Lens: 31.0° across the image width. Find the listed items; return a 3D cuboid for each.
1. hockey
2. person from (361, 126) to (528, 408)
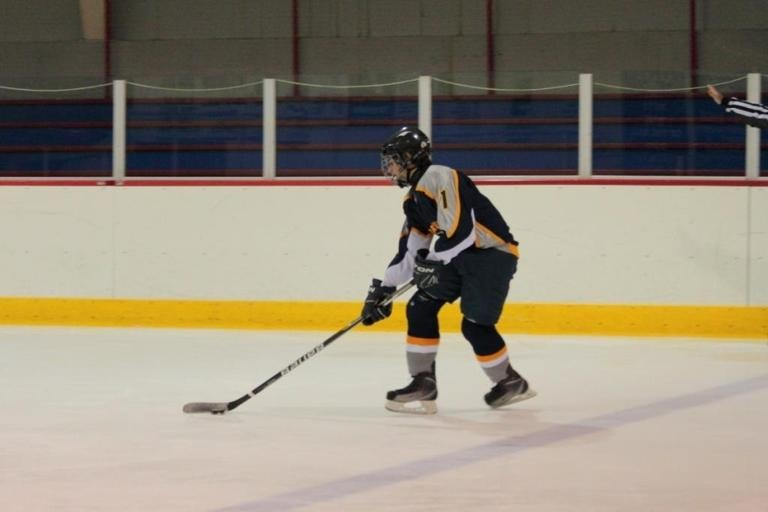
[{"bbox_3d":[-0.599,0.761,10.997,1.741,0.328,0.092,-28,39,-16],"label":"hockey"},{"bbox_3d":[0.473,0.108,9.895,1.181,2.037,0.433,1,1,0],"label":"person"}]
